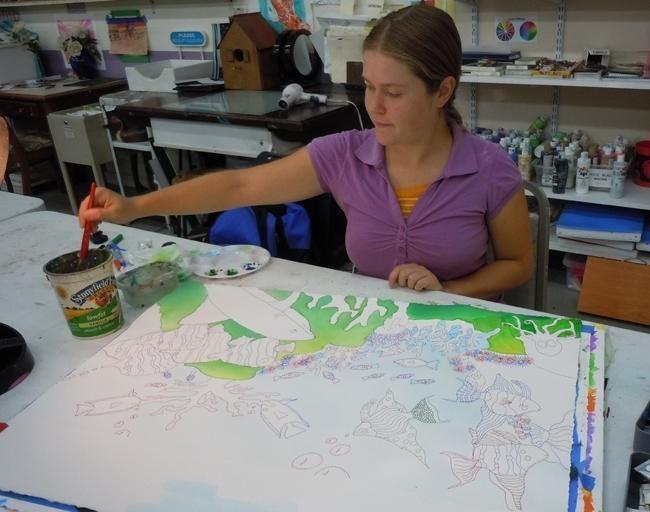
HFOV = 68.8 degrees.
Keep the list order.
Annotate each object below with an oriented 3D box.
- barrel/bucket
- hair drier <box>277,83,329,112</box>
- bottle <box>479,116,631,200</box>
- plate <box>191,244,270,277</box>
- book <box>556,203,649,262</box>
[{"bbox_3d":[-0.465,0.078,0.925,0.114,0.170,0.111,-3,23,1],"label":"barrel/bucket"},{"bbox_3d":[-0.119,-0.822,2.406,0.201,0.079,0.203,37,31,29],"label":"hair drier"},{"bbox_3d":[1.023,-0.423,2.259,0.660,0.169,0.441,13,58,27],"label":"bottle"},{"bbox_3d":[-0.233,0.013,1.159,0.112,0.015,0.106,4,32,6],"label":"plate"},{"bbox_3d":[1.229,-0.154,2.109,0.290,0.062,0.282,13,33,31],"label":"book"}]
